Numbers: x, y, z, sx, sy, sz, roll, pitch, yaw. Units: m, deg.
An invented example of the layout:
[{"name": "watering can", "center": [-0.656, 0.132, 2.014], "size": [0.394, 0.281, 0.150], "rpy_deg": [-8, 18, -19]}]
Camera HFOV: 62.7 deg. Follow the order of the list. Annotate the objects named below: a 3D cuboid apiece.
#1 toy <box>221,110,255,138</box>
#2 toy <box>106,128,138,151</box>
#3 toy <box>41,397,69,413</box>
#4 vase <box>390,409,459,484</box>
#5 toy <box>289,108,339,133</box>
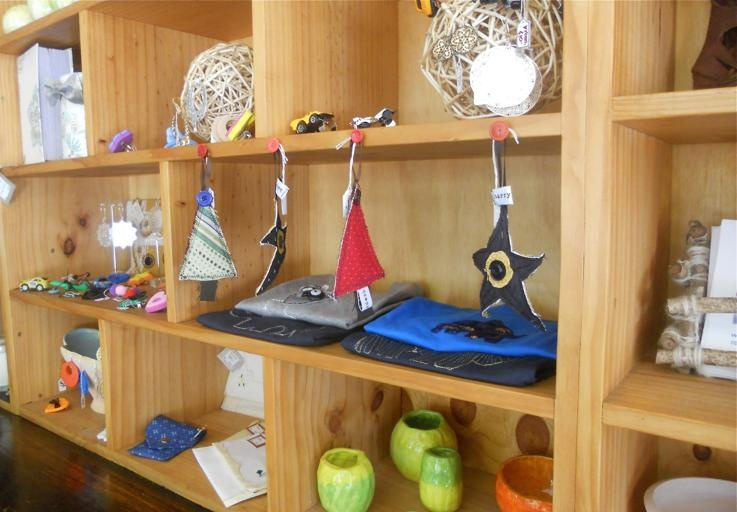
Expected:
[{"name": "toy", "center": [-0.341, -0.344, 1.572], "size": [0.073, 0.024, 0.073], "rpy_deg": [-39, 23, 14]}, {"name": "toy", "center": [-0.757, -0.358, 1.848], "size": [0.075, 0.042, 0.076], "rpy_deg": [-27, -20, -39]}, {"name": "toy", "center": [-1.126, 0.534, 2.204], "size": [0.046, 0.025, 0.065], "rpy_deg": [3, 6, 2]}, {"name": "vase", "center": [0.120, 0.468, 1.612], "size": [0.181, 0.144, 0.179], "rpy_deg": [0, 6, -33]}, {"name": "toy", "center": [-0.135, -0.312, 1.437], "size": [0.109, 0.055, 0.096], "rpy_deg": [0, 3, -3]}]
